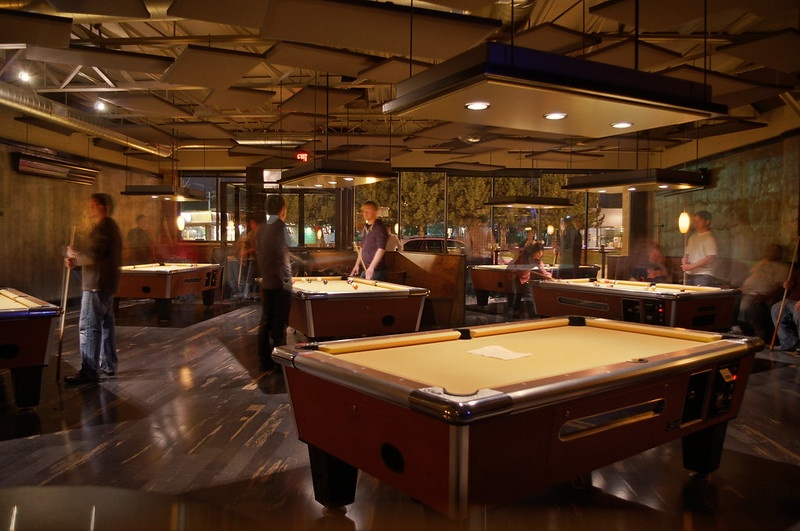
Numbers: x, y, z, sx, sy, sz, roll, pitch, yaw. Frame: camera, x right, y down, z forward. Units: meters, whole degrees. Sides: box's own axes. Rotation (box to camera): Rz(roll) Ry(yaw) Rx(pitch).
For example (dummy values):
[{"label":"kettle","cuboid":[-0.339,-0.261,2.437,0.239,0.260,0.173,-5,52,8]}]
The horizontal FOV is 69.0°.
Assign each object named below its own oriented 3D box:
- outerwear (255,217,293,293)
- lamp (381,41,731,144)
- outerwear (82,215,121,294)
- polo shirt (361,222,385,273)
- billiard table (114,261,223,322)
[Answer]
[{"label":"outerwear","cuboid":[-1.537,-0.186,7.162,0.379,0.883,0.648,4,0,-38]},{"label":"lamp","cuboid":[1.133,-1.320,4.462,2.336,0.567,0.760,-2,11,-15]},{"label":"outerwear","cuboid":[-3.393,-0.103,6.666,0.449,0.870,0.267,-10,16,-43]},{"label":"polo shirt","cuboid":[-0.378,-0.314,8.656,0.279,0.753,0.739,-3,12,-18]},{"label":"billiard table","cuboid":[-4.308,0.422,10.818,1.217,1.100,2.321,2,11,7]}]
